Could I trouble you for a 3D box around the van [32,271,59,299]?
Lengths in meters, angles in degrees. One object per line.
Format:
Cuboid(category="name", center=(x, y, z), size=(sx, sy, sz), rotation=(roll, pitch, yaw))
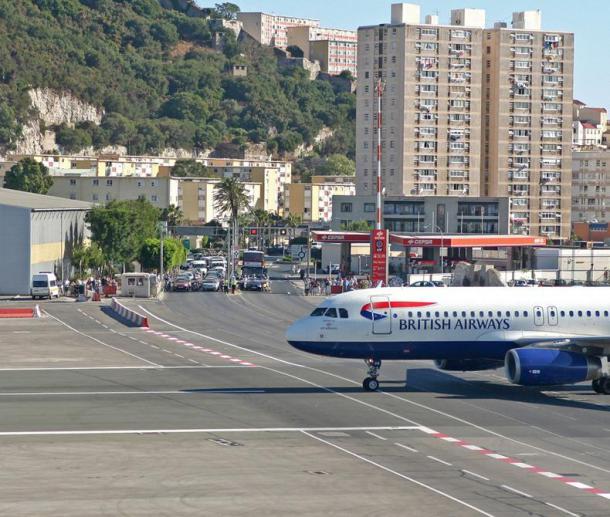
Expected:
Cuboid(category="van", center=(-31.841, 3.338, 216.336), size=(2.165, 2.069, 3.821), rotation=(0, 2, 6))
